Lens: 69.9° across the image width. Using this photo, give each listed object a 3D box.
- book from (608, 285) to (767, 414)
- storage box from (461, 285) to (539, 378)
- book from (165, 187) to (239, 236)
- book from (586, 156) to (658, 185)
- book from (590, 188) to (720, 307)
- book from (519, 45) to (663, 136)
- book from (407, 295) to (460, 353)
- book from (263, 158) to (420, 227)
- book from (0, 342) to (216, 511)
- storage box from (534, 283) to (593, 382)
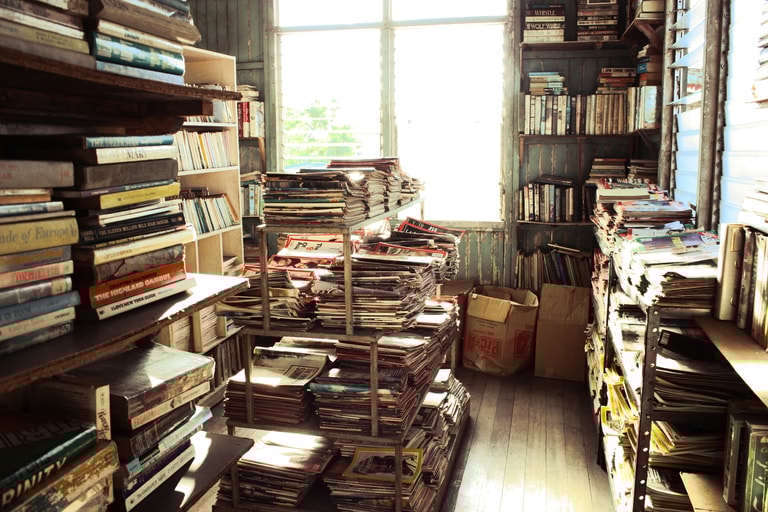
[{"bbox_3d":[1.247,0.381,2.349,0.361,0.142,0.485,2,17,12],"label":"book"},{"bbox_3d":[0.929,0.566,4.605,0.660,0.618,0.669,9,13,34],"label":"storage box"},{"bbox_3d":[-1.331,-0.329,4.060,0.507,0.217,0.676,-3,4,8],"label":"book"},{"bbox_3d":[1.909,-0.683,4.426,0.428,0.137,0.409,0,2,11],"label":"book"},{"bbox_3d":[1.255,-0.063,2.587,0.319,0.146,1.031,-2,12,11],"label":"book"},{"bbox_3d":[1.569,-1.319,4.335,1.004,0.728,0.811,4,15,12],"label":"book"},{"bbox_3d":[0.287,0.370,2.983,0.260,0.102,0.346,0,8,12],"label":"book"},{"bbox_3d":[-0.202,-0.313,2.574,0.397,0.264,0.800,7,16,22],"label":"book"},{"bbox_3d":[-0.723,0.436,1.568,0.383,0.137,0.387,10,15,26],"label":"book"},{"bbox_3d":[1.409,0.604,4.344,0.387,0.700,0.267,5,16,16],"label":"storage box"}]
